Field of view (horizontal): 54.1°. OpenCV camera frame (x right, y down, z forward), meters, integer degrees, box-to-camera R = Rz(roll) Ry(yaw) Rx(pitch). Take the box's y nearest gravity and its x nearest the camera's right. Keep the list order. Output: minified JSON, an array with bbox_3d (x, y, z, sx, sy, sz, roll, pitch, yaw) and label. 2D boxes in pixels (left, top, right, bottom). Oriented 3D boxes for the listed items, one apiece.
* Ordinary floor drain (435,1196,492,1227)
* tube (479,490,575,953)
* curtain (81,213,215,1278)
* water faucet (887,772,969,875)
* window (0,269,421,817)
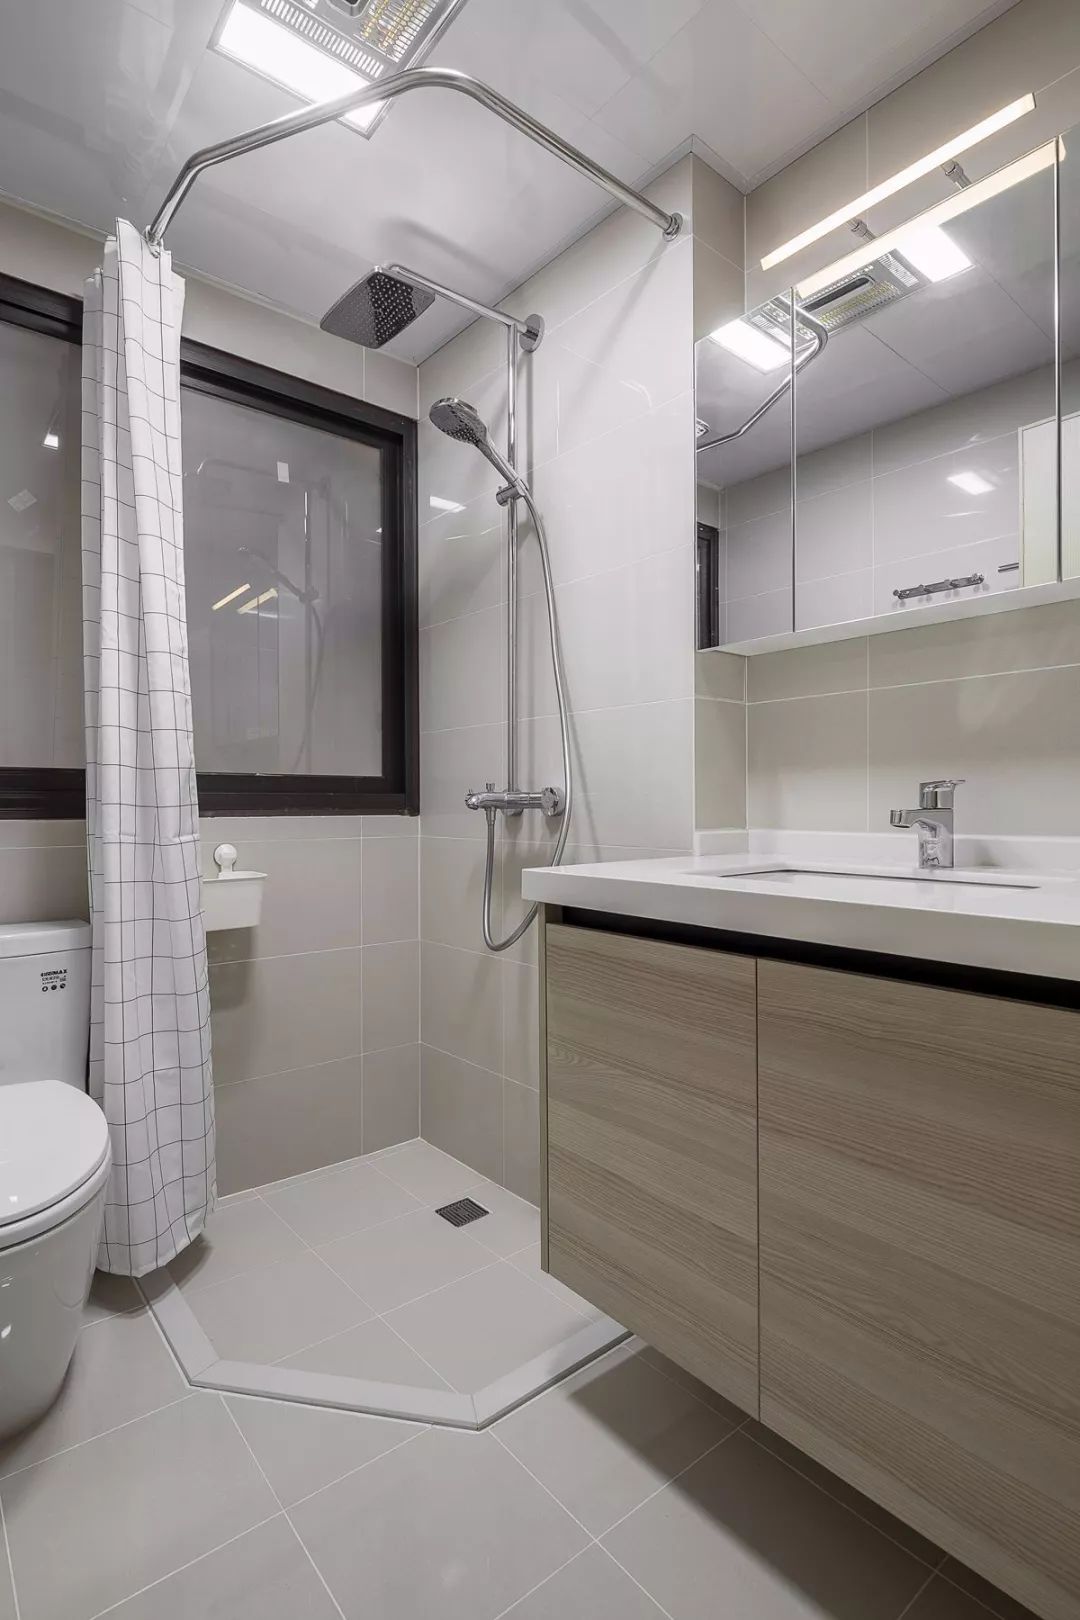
[{"bbox_3d":[-0.170,0.874,2.292,0.099,0.006,0.119,-3,6,-34],"label":"Ordinary floor drain"},{"bbox_3d":[-0.087,-0.199,2.335,0.093,1.006,0.232,2,2,10],"label":"tube"},{"bbox_3d":[-0.747,-0.116,1.998,0.217,1.888,0.311,-2,4,-24],"label":"curtain"},{"bbox_3d":[0.586,0.021,1.625,0.090,0.135,0.191,2,5,22],"label":"water faucet"},{"bbox_3d":[-0.728,-0.582,2.267,0.042,1.105,1.005,-4,-5,42],"label":"window"}]
